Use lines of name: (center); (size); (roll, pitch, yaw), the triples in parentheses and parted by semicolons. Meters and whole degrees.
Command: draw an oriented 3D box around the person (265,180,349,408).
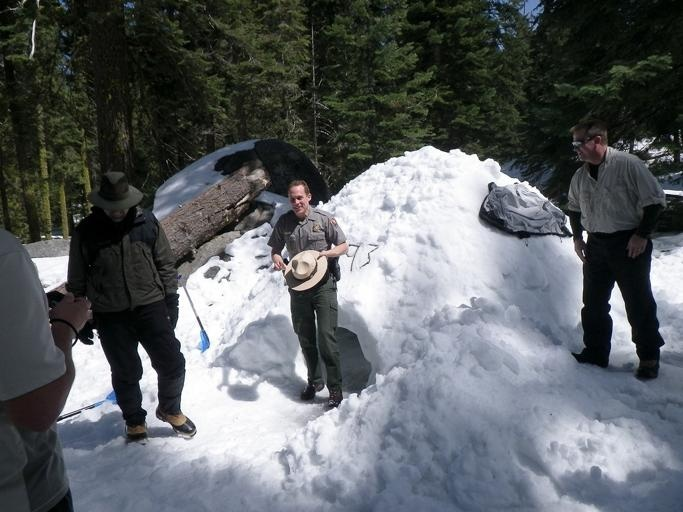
person: (-0.409, 0.460, 6.445); (0.883, 2.791, 0.662); (-1, 5, 24)

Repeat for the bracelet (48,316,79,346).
bracelet: (-2.016, 0.532, 3.734); (0.204, 0.198, 0.056); (-29, -4, -46)

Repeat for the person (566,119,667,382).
person: (2.989, -0.119, 5.683); (0.969, 2.735, 0.548); (1, 6, 37)

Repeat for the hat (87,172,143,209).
hat: (-2.382, -0.685, 5.417); (0.506, 0.401, 0.272); (-5, 6, -23)

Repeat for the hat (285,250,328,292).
hat: (-0.428, 0.183, 6.219); (0.527, 0.482, 0.293); (-3, 5, -5)

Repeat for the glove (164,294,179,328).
glove: (-1.869, 0.596, 5.725); (0.146, 0.322, 0.224); (-6, 5, -4)

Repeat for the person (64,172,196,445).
person: (-2.306, 0.638, 5.531); (1.112, 3.009, 1.065); (-9, 18, -24)

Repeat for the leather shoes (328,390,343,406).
leather shoes: (-0.094, 1.720, 6.283); (0.177, 0.238, 0.211); (-2, 5, 5)

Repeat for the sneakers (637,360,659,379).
sneakers: (3.211, 1.184, 5.419); (0.115, 0.154, 0.323); (-13, -27, 37)

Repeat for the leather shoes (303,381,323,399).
leather shoes: (-0.366, 1.741, 6.762); (0.126, 0.159, 0.348); (-12, -3, 37)
